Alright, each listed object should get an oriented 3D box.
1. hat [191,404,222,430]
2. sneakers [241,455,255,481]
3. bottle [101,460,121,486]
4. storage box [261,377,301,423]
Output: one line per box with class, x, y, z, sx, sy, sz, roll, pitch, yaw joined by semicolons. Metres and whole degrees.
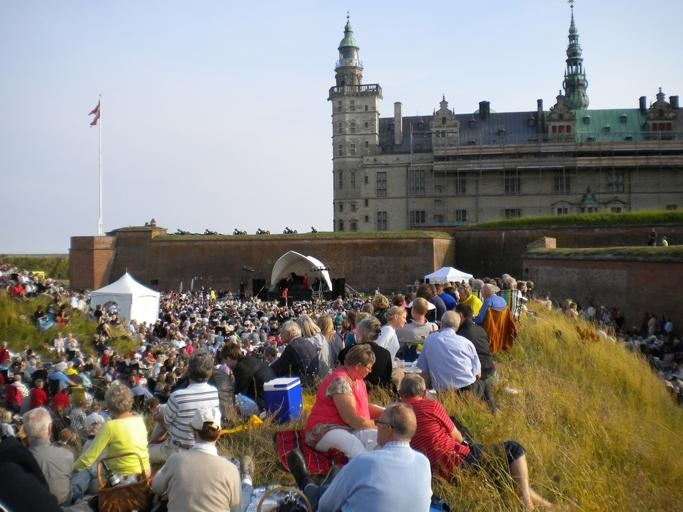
hat;-2.355;2.927;18.724;0.489;0.403;0.834;10;-12;-14
sneakers;-1.736;3.964;19.550;0.153;0.522;0.206;-9;-5;-2
bottle;-4.151;3.983;19.057;0.180;0.194;0.459;-26;47;-19
storage box;-1.188;2.935;20.987;0.673;1.021;0.966;-2;-1;16
